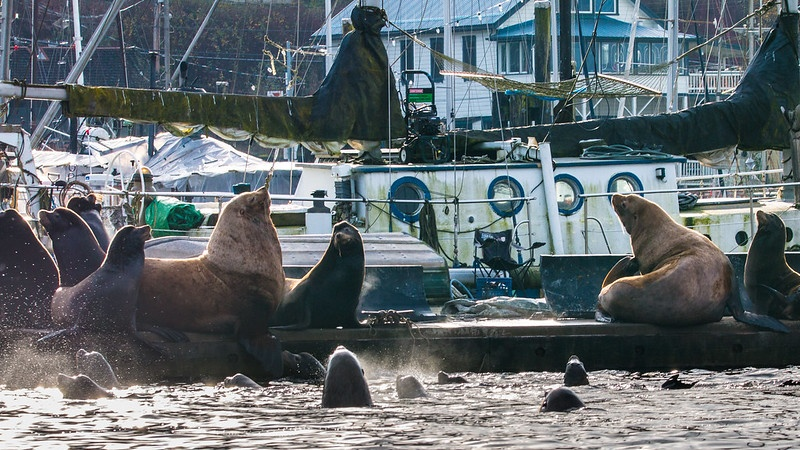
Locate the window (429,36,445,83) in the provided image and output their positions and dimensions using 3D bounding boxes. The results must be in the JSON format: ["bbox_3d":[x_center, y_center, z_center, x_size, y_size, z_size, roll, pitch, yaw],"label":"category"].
[{"bbox_3d":[1.865,-8.412,96.543,0.128,2.051,0.575,-6,2,38],"label":"window"}]

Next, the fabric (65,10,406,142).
[{"bbox_3d":[-5.982,-5.586,71.616,12.466,5.133,1.517,-1,4,-10],"label":"fabric"}]
